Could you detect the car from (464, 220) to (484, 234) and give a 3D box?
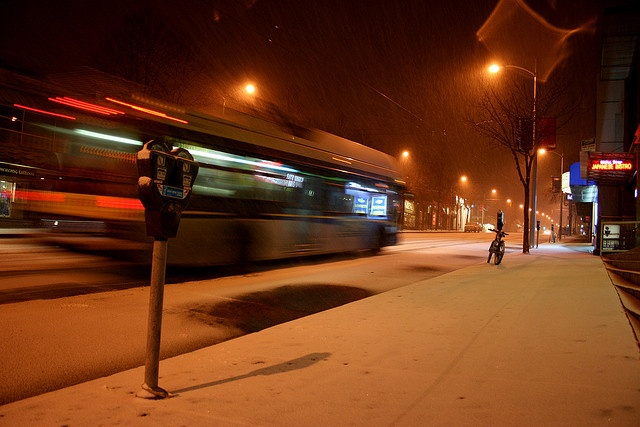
[{"bbox_3d":[29.955,2.391,87.249,3.026,2.037,4.084,-2,-7,7],"label":"car"}]

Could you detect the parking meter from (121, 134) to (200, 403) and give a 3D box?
[{"bbox_3d":[-1.960,0.688,5.641,0.696,3.217,0.588,0,7,-5],"label":"parking meter"}]

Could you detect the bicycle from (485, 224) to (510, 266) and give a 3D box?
[{"bbox_3d":[6.932,1.202,17.042,0.971,1.125,1.963,13,9,5],"label":"bicycle"}]
